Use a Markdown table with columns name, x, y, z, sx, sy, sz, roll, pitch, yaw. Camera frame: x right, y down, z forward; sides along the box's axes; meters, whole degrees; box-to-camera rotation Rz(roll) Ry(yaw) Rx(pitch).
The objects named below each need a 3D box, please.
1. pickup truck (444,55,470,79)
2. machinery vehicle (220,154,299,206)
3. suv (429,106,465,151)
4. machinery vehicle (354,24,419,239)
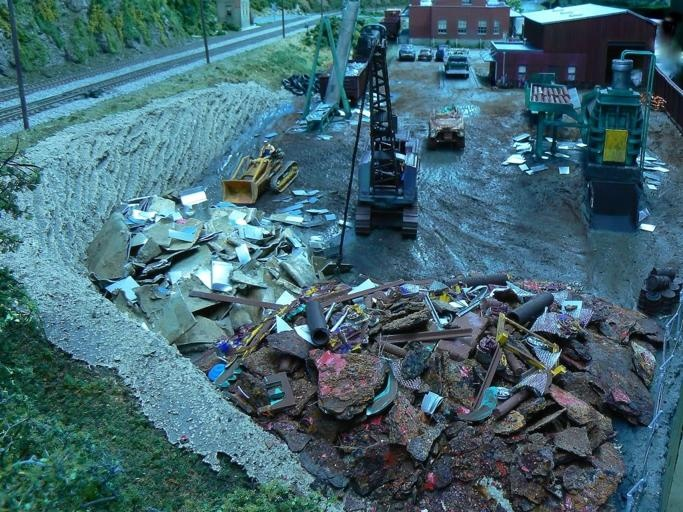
| name | x | y | z | sx | sy | sz | roll | pitch | yaw |
| --- | --- | --- | --- | --- | --- | --- | --- | --- | --- |
| pickup truck | 8.301 | -13.858 | 35.034 | 1.733 | 1.648 | 1.744 | 2 | 26 | 10 |
| machinery vehicle | -3.425 | -3.278 | 20.059 | 2.277 | 0.894 | 2.866 | 4 | 31 | 32 |
| suv | 5.199 | -6.601 | 24.776 | 1.754 | 1.627 | 2.935 | 1 | 33 | 11 |
| machinery vehicle | 1.550 | -4.191 | 17.176 | 2.218 | 6.894 | 2.745 | 0 | 28 | 7 |
